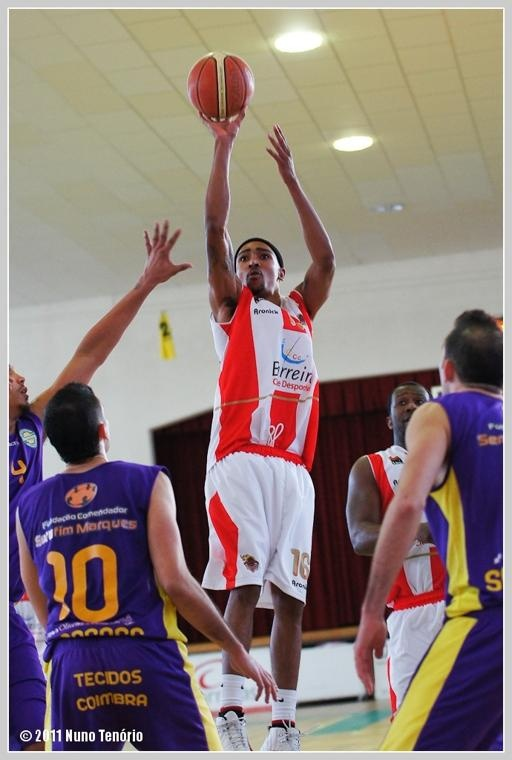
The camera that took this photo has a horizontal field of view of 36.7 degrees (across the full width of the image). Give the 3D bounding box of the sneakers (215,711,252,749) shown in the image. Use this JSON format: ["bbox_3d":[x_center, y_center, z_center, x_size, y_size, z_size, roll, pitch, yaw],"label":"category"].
[{"bbox_3d":[-0.067,1.004,2.223,0.052,0.073,0.161,-4,17,-14],"label":"sneakers"}]

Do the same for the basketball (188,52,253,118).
[{"bbox_3d":[-0.121,-1.105,2.852,0.213,0.273,0.228,-9,20,-18],"label":"basketball"}]

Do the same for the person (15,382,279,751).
[{"bbox_3d":[-0.320,0.429,1.834,0.662,0.896,0.274,-6,-6,22],"label":"person"}]
